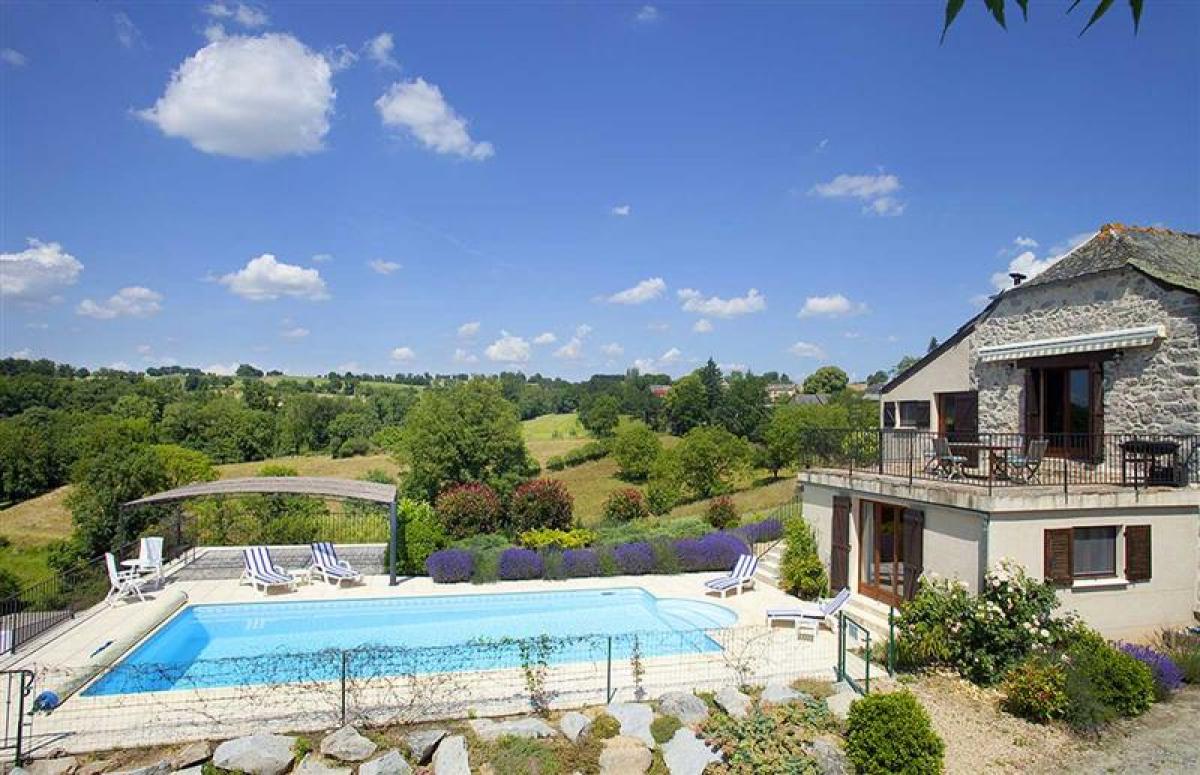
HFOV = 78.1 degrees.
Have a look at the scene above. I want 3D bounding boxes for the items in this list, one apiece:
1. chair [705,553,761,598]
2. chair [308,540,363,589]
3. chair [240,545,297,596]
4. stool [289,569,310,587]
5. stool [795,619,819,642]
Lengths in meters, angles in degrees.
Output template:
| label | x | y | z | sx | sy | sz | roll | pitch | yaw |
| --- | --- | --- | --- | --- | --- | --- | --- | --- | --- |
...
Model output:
| label | x | y | z | sx | sy | sz | roll | pitch | yaw |
| --- | --- | --- | --- | --- | --- | --- | --- | --- | --- |
| chair | 5.251 | 7.444 | 29.207 | 1.966 | 1.001 | 1.229 | -3 | -4 | -35 |
| chair | -11.067 | 7.436 | 30.749 | 1.343 | 1.297 | 2.659 | 2 | 2 | -41 |
| chair | -13.497 | 7.445 | 30.087 | 1.360 | 1.316 | 2.500 | 3 | 2 | -44 |
| stool | -12.522 | 7.926 | 30.779 | 0.636 | 0.572 | 0.622 | 1 | 1 | -13 |
| stool | 7.114 | 8.255 | 25.327 | 0.606 | 0.423 | 0.941 | 3 | 10 | 25 |
